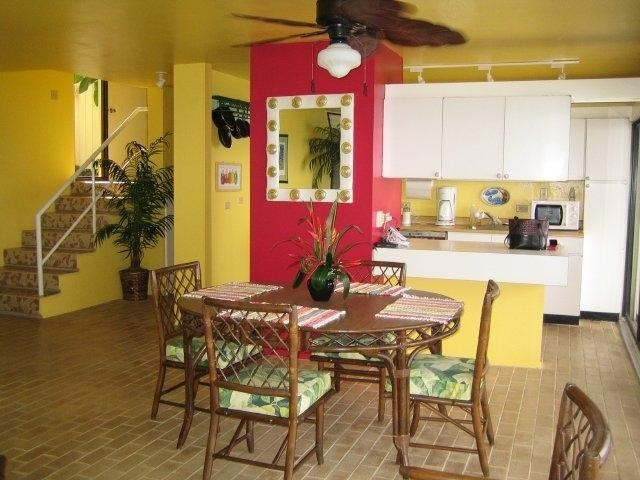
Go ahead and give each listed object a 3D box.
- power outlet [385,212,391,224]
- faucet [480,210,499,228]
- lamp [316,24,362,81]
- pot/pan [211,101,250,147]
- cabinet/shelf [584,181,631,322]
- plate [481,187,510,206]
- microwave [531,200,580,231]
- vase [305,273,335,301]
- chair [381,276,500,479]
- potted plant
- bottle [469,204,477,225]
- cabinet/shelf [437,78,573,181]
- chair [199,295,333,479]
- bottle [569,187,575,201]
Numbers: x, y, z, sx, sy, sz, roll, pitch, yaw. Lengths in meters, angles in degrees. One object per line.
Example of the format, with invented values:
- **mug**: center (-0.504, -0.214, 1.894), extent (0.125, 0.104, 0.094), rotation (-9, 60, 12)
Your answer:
- **power outlet**: center (0.691, -0.226, 5.013), extent (0.076, 0.089, 0.101), rotation (-1, -1, -17)
- **faucet**: center (2.216, -0.278, 6.432), extent (0.239, 0.204, 0.314), rotation (0, 7, 5)
- **lamp**: center (0.112, -1.140, 3.015), extent (0.261, 0.286, 0.244), rotation (-4, 10, -15)
- **pot/pan**: center (-1.111, -1.381, 5.995), extent (0.319, 0.487, 0.543), rotation (1, 7, 12)
- **cabinet/shelf**: center (3.550, 0.094, 6.187), extent (0.483, 1.651, 0.185), rotation (2, 8, 22)
- **plate**: center (2.315, -0.574, 6.537), extent (0.360, 0.239, 0.042), rotation (0, 7, 2)
- **microwave**: center (3.032, -0.235, 6.388), extent (0.772, 0.518, 0.527), rotation (1, 0, 23)
- **vase**: center (0.013, 0.293, 3.105), extent (0.157, 0.117, 0.157), rotation (1, 0, 1)
- **chair**: center (0.811, 0.805, 3.796), extent (1.029, 1.804, 0.996), rotation (3, 5, 18)
- **potted plant**: center (-2.646, -0.338, 7.060), extent (1.051, 2.305, 1.163), rotation (-4, 8, -28)
- **bottle**: center (2.022, -0.337, 6.514), extent (0.095, 0.251, 0.232), rotation (2, 7, 17)
- **cabinet/shelf**: center (1.866, -0.849, 5.150), extent (1.394, 0.954, 0.808), rotation (1, 5, 14)
- **chair**: center (-0.291, 0.839, 2.891), extent (0.725, 1.155, 0.843), rotation (-1, 7, -3)
- **bottle**: center (3.272, -0.600, 6.409), extent (0.079, 0.162, 0.018), rotation (0, 7, 3)
